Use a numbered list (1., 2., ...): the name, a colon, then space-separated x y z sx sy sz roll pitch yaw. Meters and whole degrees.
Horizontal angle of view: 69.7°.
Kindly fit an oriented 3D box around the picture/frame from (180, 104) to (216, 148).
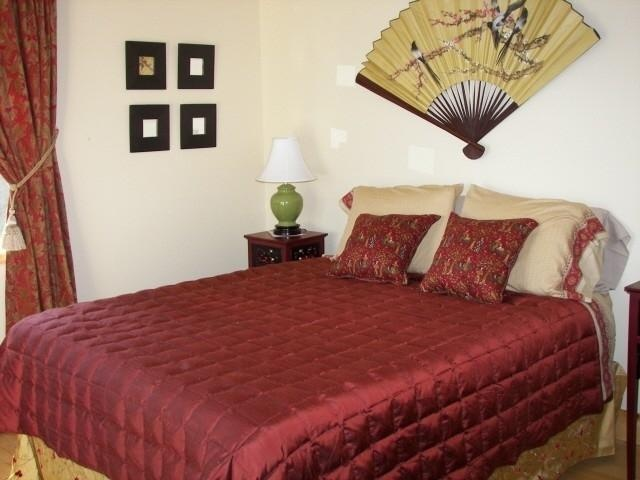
1. picture/frame: -1.079 -1.000 4.059 0.362 0.396 0.025 -12 16 -41

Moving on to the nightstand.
1. nightstand: -0.311 0.008 4.049 0.451 0.415 0.438 -6 10 -44

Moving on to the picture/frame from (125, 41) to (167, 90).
1. picture/frame: -1.405 -1.411 3.685 0.430 0.422 0.034 -10 18 -37

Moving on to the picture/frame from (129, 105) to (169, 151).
1. picture/frame: -1.410 -0.926 3.766 0.415 0.348 0.027 -8 11 -39
